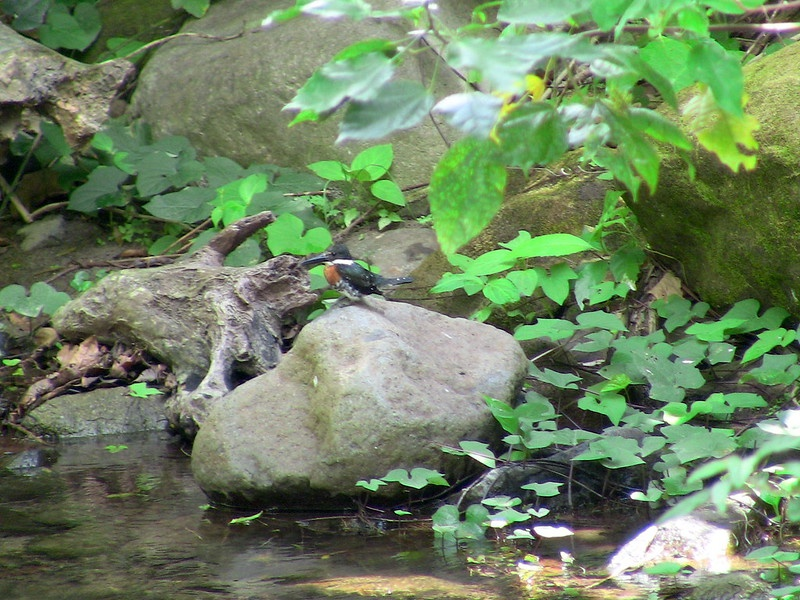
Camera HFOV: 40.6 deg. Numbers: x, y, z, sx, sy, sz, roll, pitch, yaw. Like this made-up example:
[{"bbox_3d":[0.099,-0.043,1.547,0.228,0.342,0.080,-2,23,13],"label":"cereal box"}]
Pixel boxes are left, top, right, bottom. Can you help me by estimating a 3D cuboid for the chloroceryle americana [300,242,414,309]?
[{"bbox_3d":[-0.334,-0.165,7.270,0.266,0.897,0.275,15,100,58],"label":"chloroceryle americana"}]
